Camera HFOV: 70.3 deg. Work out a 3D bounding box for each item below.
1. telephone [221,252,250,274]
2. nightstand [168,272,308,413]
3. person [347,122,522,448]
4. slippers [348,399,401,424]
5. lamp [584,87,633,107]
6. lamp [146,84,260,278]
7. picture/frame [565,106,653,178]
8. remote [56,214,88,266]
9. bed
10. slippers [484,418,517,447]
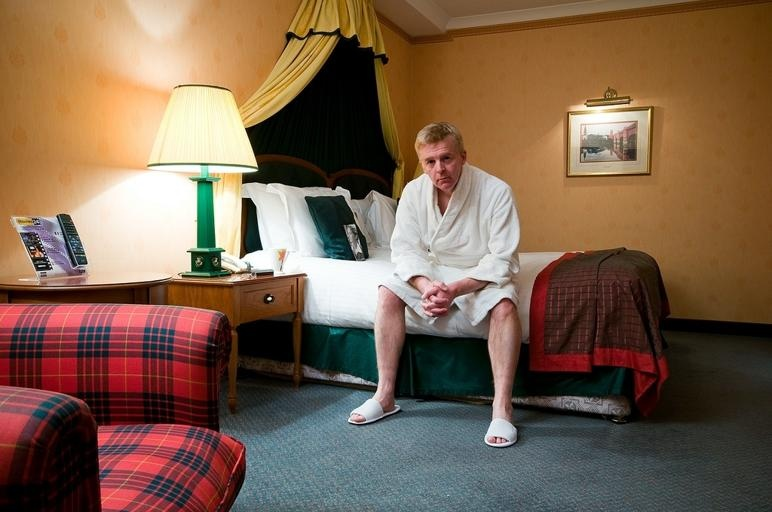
[{"bbox_3d":[-0.889,0.041,3.285,0.110,0.047,0.153,25,1,35],"label":"telephone"},{"bbox_3d":[-0.915,0.468,3.342,0.595,0.712,0.714,1,2,26],"label":"nightstand"},{"bbox_3d":[0.319,0.088,2.967,0.845,1.583,0.756,2,11,14],"label":"person"},{"bbox_3d":[-0.059,0.820,2.984,0.102,0.080,0.263,-5,-5,41],"label":"slippers"},{"bbox_3d":[2.184,-1.552,5.374,0.436,0.194,0.123,3,11,18],"label":"lamp"},{"bbox_3d":[-1.043,-0.435,3.175,0.579,1.052,0.455,-4,11,-21],"label":"lamp"},{"bbox_3d":[2.237,-1.127,5.398,0.690,0.626,0.053,-1,-2,19],"label":"picture/frame"},{"bbox_3d":[-1.521,-0.076,2.659,0.185,0.253,0.086,9,14,40],"label":"remote"},{"bbox_3d":[0.634,0.174,3.392,1.501,0.847,1.404,0,6,18],"label":"bed"},{"bbox_3d":[0.576,0.861,2.712,0.170,0.109,0.129,1,11,8],"label":"slippers"}]
